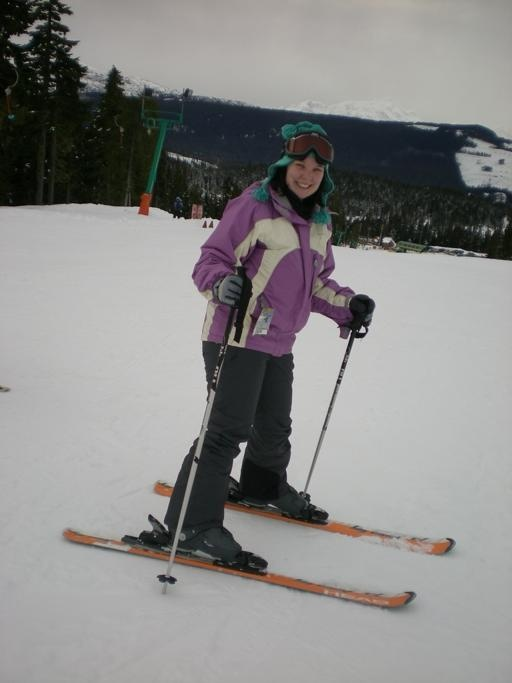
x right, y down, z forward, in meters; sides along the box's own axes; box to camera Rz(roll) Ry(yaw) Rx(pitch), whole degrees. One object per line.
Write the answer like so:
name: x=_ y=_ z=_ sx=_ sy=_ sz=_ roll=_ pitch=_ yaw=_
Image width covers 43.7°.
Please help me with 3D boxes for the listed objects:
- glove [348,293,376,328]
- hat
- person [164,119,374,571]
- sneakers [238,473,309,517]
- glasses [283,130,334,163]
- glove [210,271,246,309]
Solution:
glove: x=0.489 y=-0.144 z=2.939 sx=0.140 sy=0.134 sz=0.061 roll=21 pitch=33 yaw=8
hat: x=0.200 y=-0.697 z=2.605 sx=0.326 sy=0.382 sz=0.256 roll=15 pitch=7 yaw=3
person: x=0.077 y=-0.020 z=2.632 sx=0.492 sy=1.759 sz=0.874 roll=13 pitch=13 yaw=26
sneakers: x=0.066 y=0.699 z=3.023 sx=0.432 sy=0.176 sz=0.134 roll=10 pitch=18 yaw=-8
glasses: x=0.217 y=-0.756 z=2.489 sx=0.130 sy=0.078 sz=0.158 roll=3 pitch=4 yaw=-12
glove: x=-0.116 y=-0.195 z=2.279 sx=0.094 sy=0.134 sz=0.158 roll=-3 pitch=15 yaw=-39
